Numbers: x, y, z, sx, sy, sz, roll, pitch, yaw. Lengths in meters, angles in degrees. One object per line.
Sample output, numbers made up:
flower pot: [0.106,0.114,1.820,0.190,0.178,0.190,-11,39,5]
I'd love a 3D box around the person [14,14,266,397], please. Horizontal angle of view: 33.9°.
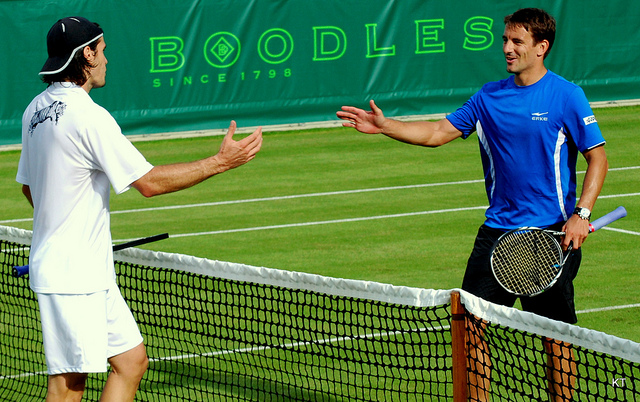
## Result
person: [-1.883,0.081,9.205,1.619,3.278,0.695,2,11,-1]
